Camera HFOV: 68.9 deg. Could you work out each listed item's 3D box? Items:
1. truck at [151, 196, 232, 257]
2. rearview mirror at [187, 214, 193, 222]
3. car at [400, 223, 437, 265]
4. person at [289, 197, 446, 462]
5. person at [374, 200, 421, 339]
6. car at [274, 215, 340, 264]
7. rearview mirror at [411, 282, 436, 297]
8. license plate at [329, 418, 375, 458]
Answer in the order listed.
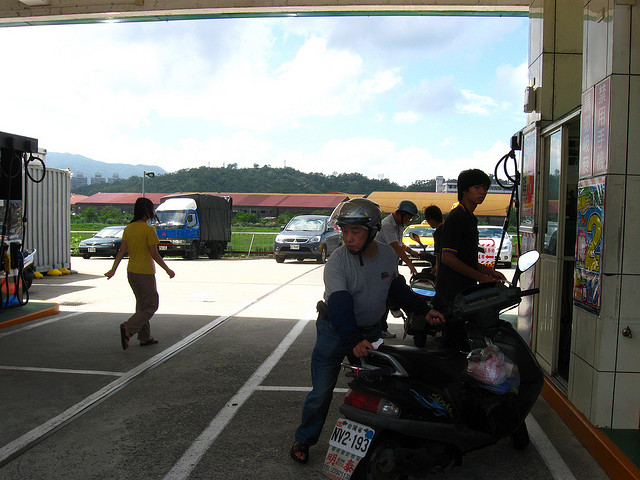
[{"bbox_3d":[-7.031,-0.718,25.047,3.015,3.368,5.743,2,1,4],"label":"truck"},{"bbox_3d":[-6.421,-1.079,22.974,0.124,0.370,0.323,2,3,23],"label":"rearview mirror"},{"bbox_3d":[4.420,0.019,21.048,1.595,1.572,3.185,2,3,13],"label":"car"},{"bbox_3d":[0.453,0.685,3.692,1.421,1.977,1.042,-5,7,-28],"label":"person"},{"bbox_3d":[1.321,0.365,7.459,0.898,1.965,0.912,-4,12,-4],"label":"person"},{"bbox_3d":[-0.603,-0.142,21.417,1.637,1.354,3.103,-2,-4,12],"label":"car"},{"bbox_3d":[1.701,0.796,7.548,0.184,0.213,0.567,-1,3,-30],"label":"rearview mirror"},{"bbox_3d":[0.195,1.283,3.026,0.266,0.196,0.010,10,-35,23],"label":"license plate"}]
